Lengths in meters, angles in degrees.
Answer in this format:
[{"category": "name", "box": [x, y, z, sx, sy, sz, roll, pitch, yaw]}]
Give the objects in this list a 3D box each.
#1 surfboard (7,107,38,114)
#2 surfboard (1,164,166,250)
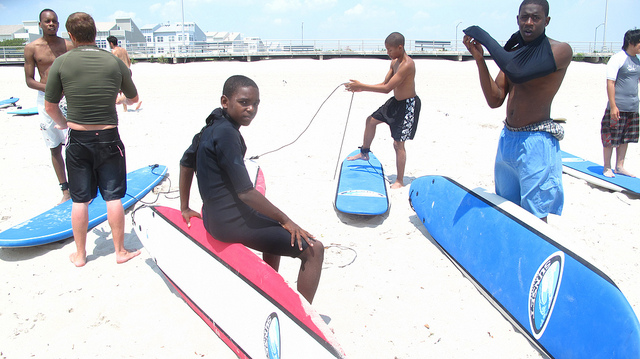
[{"category": "surfboard", "box": [-7.807, -1.786, 12.073, 0.574, 0.122, 0.653, -18, 25, -36]}, {"category": "surfboard", "box": [-3.589, 0.399, 7.250, 0.768, 0.368, 2.554, 27, 27, 13]}]
